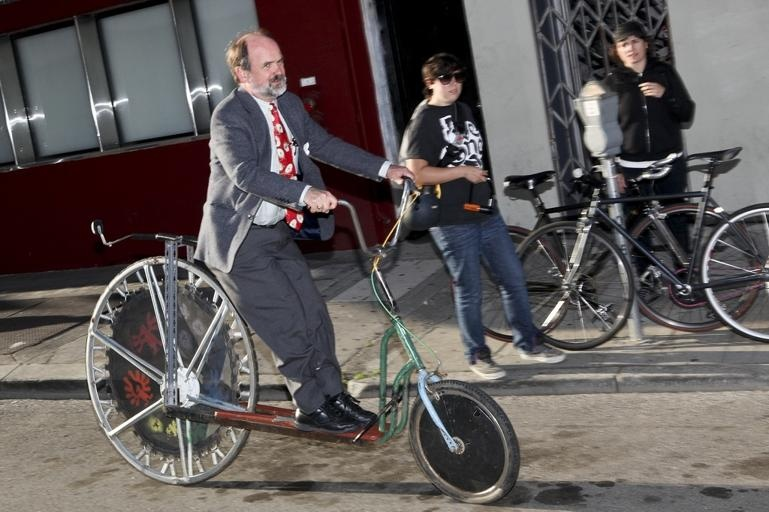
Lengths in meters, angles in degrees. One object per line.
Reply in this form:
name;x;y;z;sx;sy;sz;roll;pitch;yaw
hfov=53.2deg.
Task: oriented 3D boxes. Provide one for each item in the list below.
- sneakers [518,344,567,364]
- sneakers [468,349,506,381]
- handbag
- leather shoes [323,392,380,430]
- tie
sneakers;1.345;0.835;6.567;0.406;0.147;0.152;-3;4;18
sneakers;0.841;0.908;6.379;0.388;0.153;0.163;6;14;33
handbag;0.517;-0.430;6.209;0.778;0.592;0.424;7;0;18
leather shoes;-0.254;1.018;5.233;0.486;0.166;0.154;10;22;34
tie;-0.671;-0.607;5.267;0.120;0.903;0.202;-8;9;3
